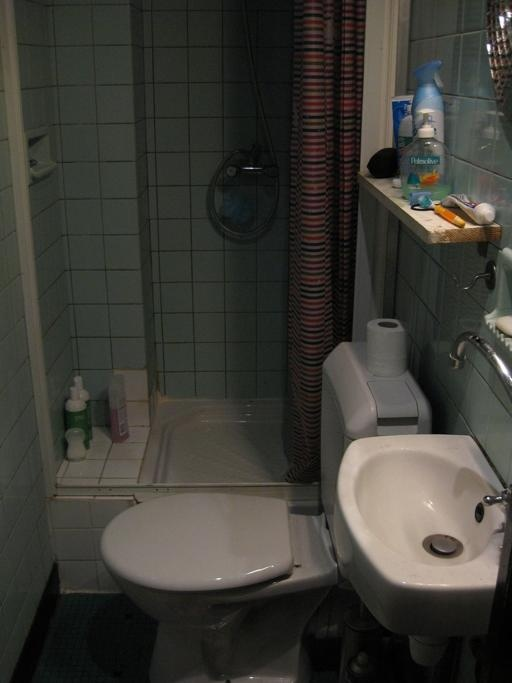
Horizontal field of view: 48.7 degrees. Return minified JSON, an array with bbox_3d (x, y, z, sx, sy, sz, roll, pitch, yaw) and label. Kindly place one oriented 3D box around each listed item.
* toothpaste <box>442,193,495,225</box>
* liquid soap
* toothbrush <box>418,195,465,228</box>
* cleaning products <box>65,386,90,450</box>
[{"bbox_3d":[0.342,-0.218,0.915,0.029,0.042,0.115,2,18,-8],"label":"toothpaste"},{"bbox_3d":[0.322,-0.353,1.081,0.086,0.160,0.154,3,15,14],"label":"liquid soap"},{"bbox_3d":[0.313,-0.218,0.931,0.030,0.015,0.091,-6,25,-7],"label":"toothbrush"},{"bbox_3d":[-0.650,0.259,2.114,0.041,0.219,0.047,-4,3,-9],"label":"cleaning products"}]
